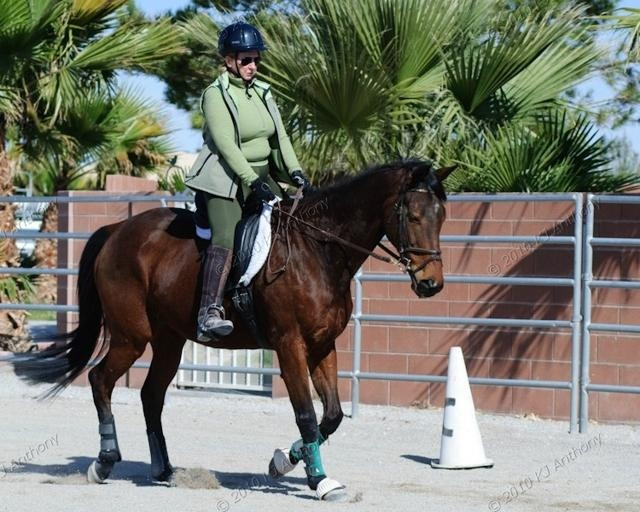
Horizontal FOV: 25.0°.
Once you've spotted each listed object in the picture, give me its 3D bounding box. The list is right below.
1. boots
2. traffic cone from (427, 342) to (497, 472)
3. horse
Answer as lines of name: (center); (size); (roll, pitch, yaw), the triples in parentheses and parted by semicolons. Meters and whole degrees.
boots: (-1.145, 0.347, 15.223); (0.579, 0.873, 0.283); (7, 9, -39)
traffic cone: (1.547, 1.692, 16.301); (0.643, 1.374, 0.575); (0, -1, 9)
horse: (0.471, 0.871, 16.845); (5.702, 4.279, 2.898); (13, 14, 41)
